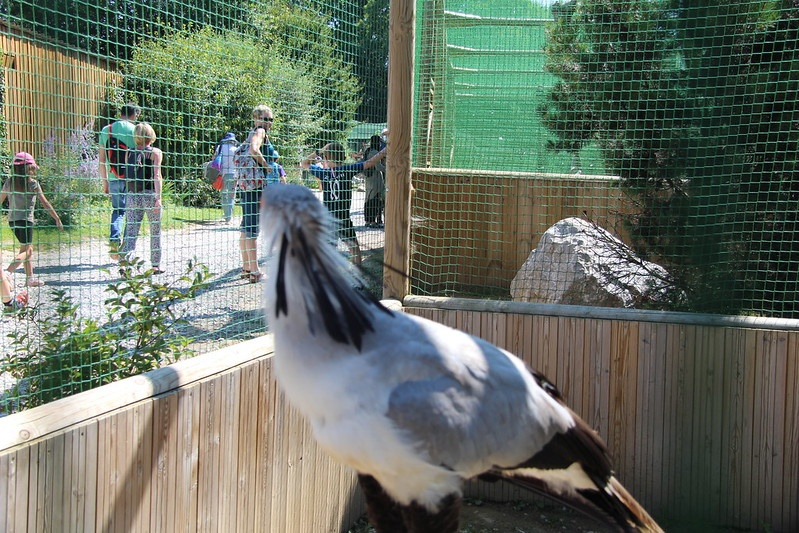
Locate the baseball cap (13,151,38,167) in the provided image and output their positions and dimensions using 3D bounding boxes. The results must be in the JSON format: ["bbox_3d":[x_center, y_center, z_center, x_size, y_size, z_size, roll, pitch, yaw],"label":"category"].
[{"bbox_3d":[-3.120,-0.889,7.596,0.216,0.145,0.153,-7,13,-41],"label":"baseball cap"}]

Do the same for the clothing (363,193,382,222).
[{"bbox_3d":[-0.284,-0.601,9.576,0.273,0.321,0.068,2,0,44],"label":"clothing"}]

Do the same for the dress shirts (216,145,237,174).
[{"bbox_3d":[-1.577,-0.973,8.325,0.224,0.287,0.143,1,2,7],"label":"dress shirts"}]
